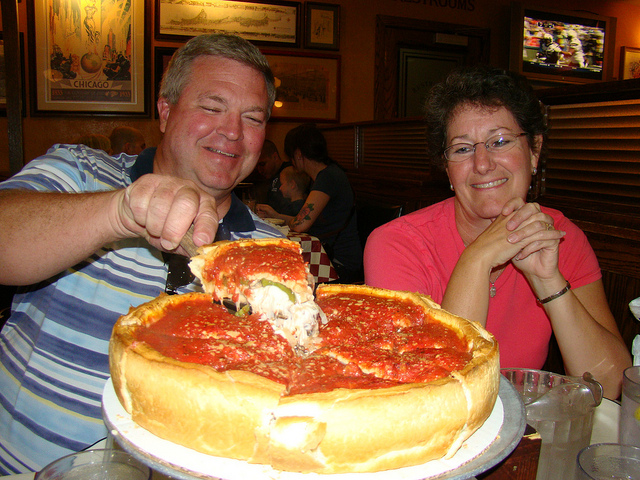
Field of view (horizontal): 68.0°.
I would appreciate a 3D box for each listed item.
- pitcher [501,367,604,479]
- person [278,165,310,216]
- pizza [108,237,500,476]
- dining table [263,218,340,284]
[{"bbox_3d":[0.688,0.515,1.375,0.257,0.240,0.241,4,6,-3],"label":"pitcher"},{"bbox_3d":[-0.370,-0.597,6.158,0.450,0.654,0.788,-6,6,-18],"label":"person"},{"bbox_3d":[-0.102,0.257,1.318,0.928,0.523,0.761,-7,11,-34],"label":"pizza"},{"bbox_3d":[-0.112,0.119,3.979,0.622,0.227,0.595,-3,33,-24],"label":"dining table"}]
